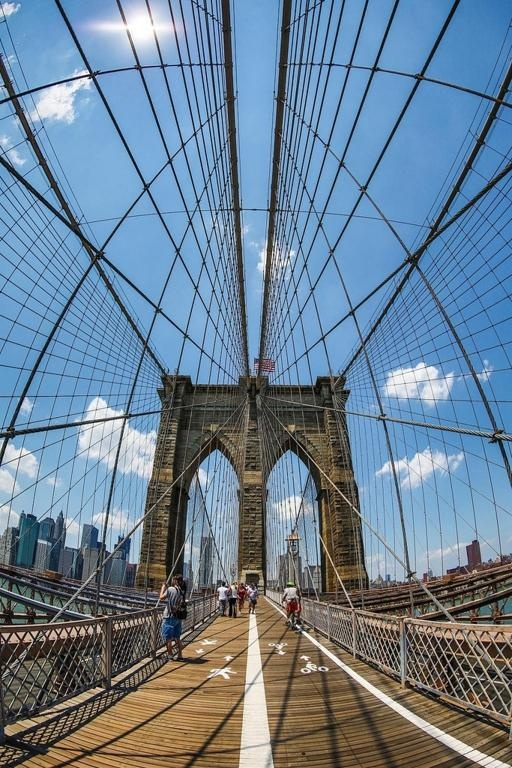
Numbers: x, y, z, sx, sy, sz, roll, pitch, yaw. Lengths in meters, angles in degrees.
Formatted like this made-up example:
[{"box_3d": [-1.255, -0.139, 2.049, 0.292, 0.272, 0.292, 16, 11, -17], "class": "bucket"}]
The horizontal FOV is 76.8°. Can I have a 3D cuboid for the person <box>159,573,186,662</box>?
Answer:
[{"box_3d": [-1.404, 3.915, 5.454, 0.414, 1.354, 1.408, 4, -22, -12], "class": "person"}]

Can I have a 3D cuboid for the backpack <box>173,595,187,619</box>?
[{"box_3d": [-1.175, 3.501, 5.101, 0.154, 0.345, 0.275, -6, -22, 14], "class": "backpack"}]
